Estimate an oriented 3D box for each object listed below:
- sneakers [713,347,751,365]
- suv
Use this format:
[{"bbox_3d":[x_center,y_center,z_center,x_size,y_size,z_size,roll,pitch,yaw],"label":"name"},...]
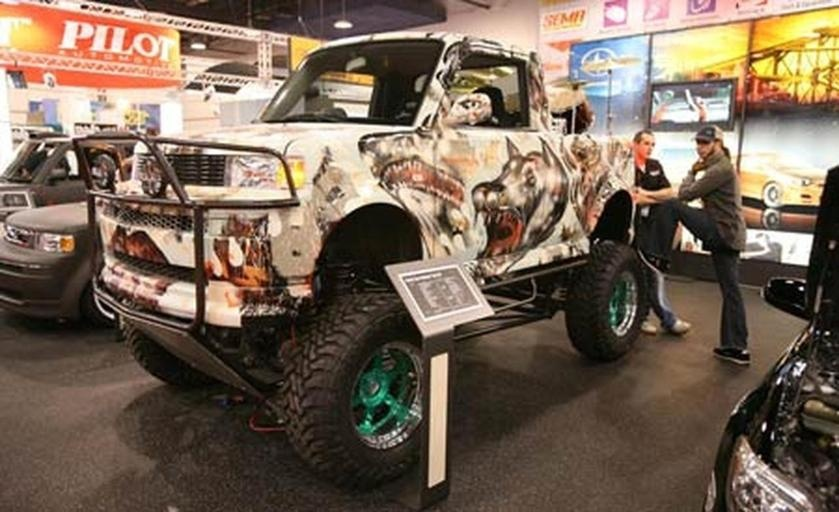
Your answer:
[{"bbox_3d":[3.452,1.062,6.397,0.160,0.160,0.392,-6,12,-39],"label":"sneakers"},{"bbox_3d":[-0.302,-0.287,5.107,4.350,3.309,2.233,-13,20,-38],"label":"suv"}]
